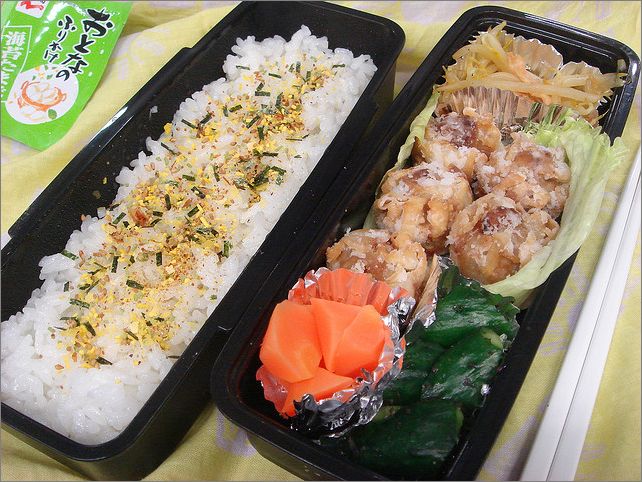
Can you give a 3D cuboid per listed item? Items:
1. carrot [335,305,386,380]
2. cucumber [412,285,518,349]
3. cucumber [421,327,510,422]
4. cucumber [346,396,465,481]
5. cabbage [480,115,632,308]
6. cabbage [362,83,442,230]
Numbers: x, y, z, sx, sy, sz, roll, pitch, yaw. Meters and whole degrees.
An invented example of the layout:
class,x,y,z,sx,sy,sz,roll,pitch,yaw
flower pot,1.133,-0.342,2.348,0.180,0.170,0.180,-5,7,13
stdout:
class,x,y,z,sx,sy,sz,roll,pitch,yaw
carrot,0.153,0.373,2.032,0.161,0.117,0.260,0,78,-4
cucumber,0.561,0.288,2.100,0.264,0.087,0.284,25,59,35
cucumber,0.519,0.488,2.003,0.214,0.107,0.334,41,82,20
cucumber,0.320,0.724,1.967,0.385,0.169,0.229,-20,71,-12
cabbage,1.052,-0.144,2.354,0.206,0.589,0.875,37,81,-26
cabbage,0.369,-0.357,2.452,0.101,0.110,0.747,30,82,-4
